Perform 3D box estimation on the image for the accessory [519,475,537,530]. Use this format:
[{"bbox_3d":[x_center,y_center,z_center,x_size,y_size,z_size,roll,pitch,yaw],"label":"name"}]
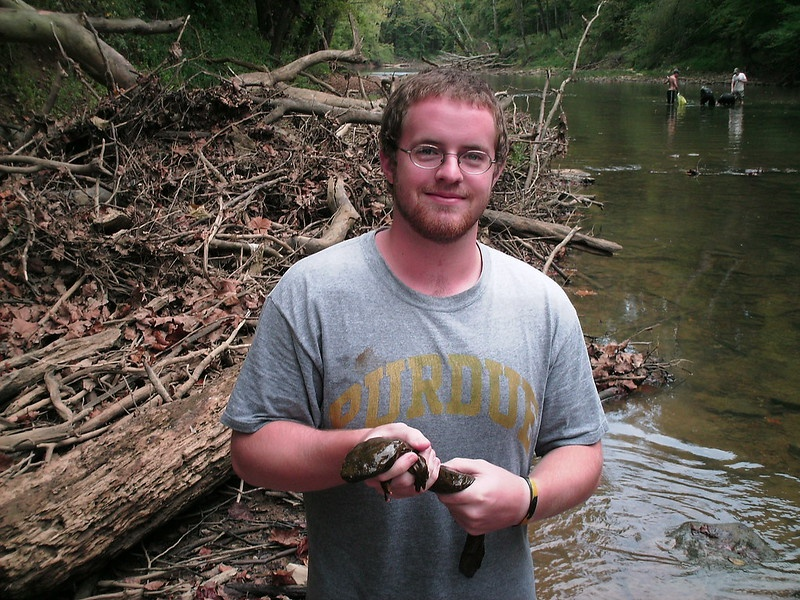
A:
[{"bbox_3d":[0.599,0.941,3.015,0.071,0.248,0.130,4,18,14],"label":"accessory"}]
